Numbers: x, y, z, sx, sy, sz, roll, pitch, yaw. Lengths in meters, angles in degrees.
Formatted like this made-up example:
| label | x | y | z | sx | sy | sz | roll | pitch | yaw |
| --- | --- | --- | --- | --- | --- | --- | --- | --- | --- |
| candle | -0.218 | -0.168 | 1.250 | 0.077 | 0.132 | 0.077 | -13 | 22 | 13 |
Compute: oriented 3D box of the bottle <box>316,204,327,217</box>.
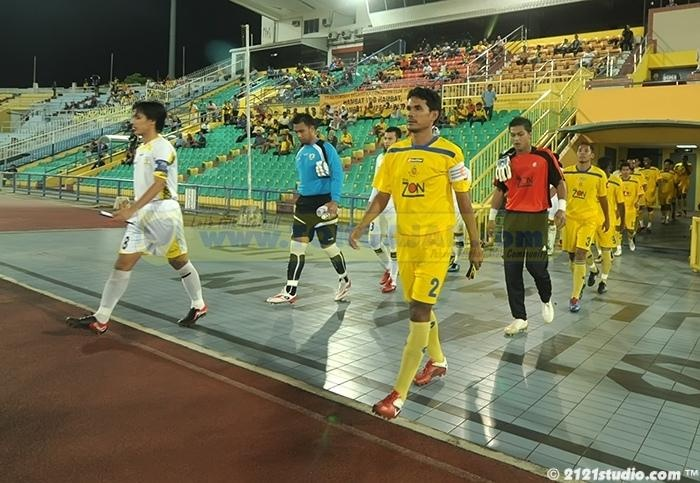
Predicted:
| label | x | y | z | sx | sy | sz | roll | pitch | yaw |
| --- | --- | --- | --- | --- | --- | --- | --- | --- | --- |
| bottle | -0.407 | -0.431 | 6.704 | 0.101 | 0.183 | 0.212 | -7 | 14 | -38 |

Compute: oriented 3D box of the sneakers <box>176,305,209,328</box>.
| label | x | y | z | sx | sy | sz | roll | pitch | yaw |
| --- | --- | --- | --- | --- | --- | --- | --- | --- | --- |
| sneakers | -1.936 | 0.886 | 5.951 | 0.154 | 0.153 | 0.397 | 5 | 19 | 31 |

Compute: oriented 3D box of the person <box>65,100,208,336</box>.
| label | x | y | z | sx | sy | sz | roll | pitch | yaw |
| --- | --- | --- | --- | --- | --- | --- | --- | --- | --- |
| person | -2.371 | -0.288 | 5.530 | 1.126 | 2.642 | 1.108 | 2 | 11 | 4 |

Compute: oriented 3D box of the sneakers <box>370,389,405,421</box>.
| label | x | y | z | sx | sy | sz | roll | pitch | yaw |
| --- | --- | --- | --- | --- | --- | --- | --- | --- | --- |
| sneakers | 0.325 | 1.327 | 3.955 | 0.286 | 0.175 | 0.154 | 27 | -10 | -41 |

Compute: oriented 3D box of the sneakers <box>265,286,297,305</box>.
| label | x | y | z | sx | sy | sz | roll | pitch | yaw |
| --- | --- | --- | --- | --- | --- | --- | --- | --- | --- |
| sneakers | -1.004 | 0.792 | 7.002 | 0.377 | 0.190 | 0.204 | 4 | -9 | -22 |

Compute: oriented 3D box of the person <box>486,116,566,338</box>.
| label | x | y | z | sx | sy | sz | roll | pitch | yaw |
| --- | --- | --- | --- | --- | --- | --- | --- | --- | --- |
| person | 2.180 | -0.196 | 5.887 | 0.935 | 2.577 | 0.654 | 3 | 11 | 5 |

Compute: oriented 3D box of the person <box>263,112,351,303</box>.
| label | x | y | z | sx | sy | sz | roll | pitch | yaw |
| --- | --- | --- | --- | --- | --- | --- | --- | --- | --- |
| person | -0.528 | -0.483 | 7.011 | 1.085 | 2.673 | 0.790 | 1 | 11 | -3 |

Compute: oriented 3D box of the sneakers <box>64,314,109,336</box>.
| label | x | y | z | sx | sy | sz | roll | pitch | yaw |
| --- | --- | --- | --- | --- | --- | --- | --- | --- | --- |
| sneakers | -3.015 | 0.910 | 5.471 | 0.428 | 0.229 | 0.272 | -1 | 12 | -12 |

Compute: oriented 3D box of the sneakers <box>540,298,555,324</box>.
| label | x | y | z | sx | sy | sz | roll | pitch | yaw |
| --- | --- | --- | --- | --- | --- | --- | --- | --- | --- |
| sneakers | 2.512 | 0.825 | 6.156 | 0.144 | 0.158 | 0.407 | -9 | 45 | 41 |

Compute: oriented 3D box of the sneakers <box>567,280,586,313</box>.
| label | x | y | z | sx | sy | sz | roll | pitch | yaw |
| --- | --- | --- | --- | --- | --- | --- | --- | --- | --- |
| sneakers | 3.406 | 0.802 | 7.166 | 0.175 | 0.231 | 0.572 | -7 | 27 | 50 |

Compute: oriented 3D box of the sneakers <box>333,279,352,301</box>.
| label | x | y | z | sx | sy | sz | roll | pitch | yaw |
| --- | --- | --- | --- | --- | --- | --- | --- | --- | --- |
| sneakers | -0.126 | 0.658 | 7.206 | 0.151 | 0.188 | 0.440 | 9 | 40 | 35 |

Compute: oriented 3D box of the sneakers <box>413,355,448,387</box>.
| label | x | y | z | sx | sy | sz | roll | pitch | yaw |
| --- | --- | --- | --- | --- | --- | --- | --- | --- | --- |
| sneakers | 0.784 | 1.242 | 4.663 | 0.427 | 0.186 | 0.148 | -12 | -6 | -34 |

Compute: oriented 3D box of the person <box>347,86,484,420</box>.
| label | x | y | z | sx | sy | sz | roll | pitch | yaw |
| --- | --- | --- | --- | --- | --- | --- | --- | --- | --- |
| person | 0.496 | 0.022 | 4.260 | 1.049 | 2.697 | 0.846 | -7 | 14 | -36 |
